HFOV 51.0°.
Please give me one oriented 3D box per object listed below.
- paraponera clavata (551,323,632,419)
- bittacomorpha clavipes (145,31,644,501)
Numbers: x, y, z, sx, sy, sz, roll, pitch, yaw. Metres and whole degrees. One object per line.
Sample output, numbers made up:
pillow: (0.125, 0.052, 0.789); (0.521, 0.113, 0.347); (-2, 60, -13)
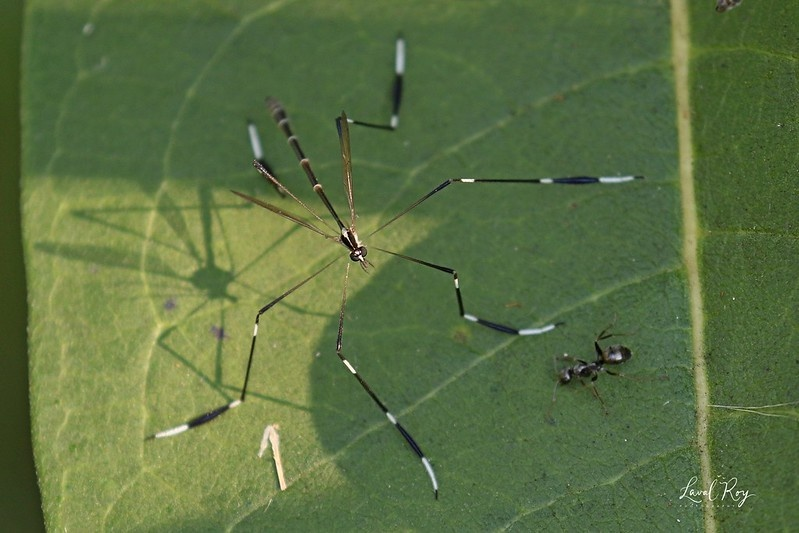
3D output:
paraponera clavata: (3.091, 1.637, 13.512); (1.357, 0.455, 1.112); (-24, 81, 19)
bittacomorpha clavipes: (-0.790, -0.256, 13.914); (4.311, 5.188, 0.942); (-26, -2, 15)
